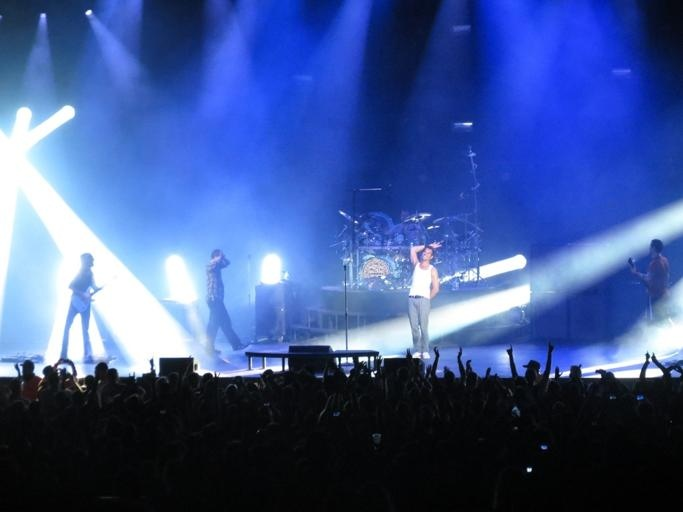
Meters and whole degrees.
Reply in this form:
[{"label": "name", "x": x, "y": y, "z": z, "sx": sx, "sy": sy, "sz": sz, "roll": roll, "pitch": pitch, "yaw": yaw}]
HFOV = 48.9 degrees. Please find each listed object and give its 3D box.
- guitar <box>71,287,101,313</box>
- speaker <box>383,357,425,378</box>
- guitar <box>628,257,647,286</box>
[{"label": "guitar", "x": -4.026, "y": 0.700, "z": 11.568, "sx": 0.300, "sy": 0.330, "sz": 0.159, "roll": 2, "pitch": -16, "yaw": -18}, {"label": "speaker", "x": 0.659, "y": 1.213, "z": 8.199, "sx": 0.347, "sy": 0.210, "sz": 0.343, "roll": 0, "pitch": -6, "yaw": 3}, {"label": "guitar", "x": 4.941, "y": 0.279, "z": 12.532, "sx": 0.149, "sy": 0.129, "sz": 0.506, "roll": -23, "pitch": -67, "yaw": 25}]
